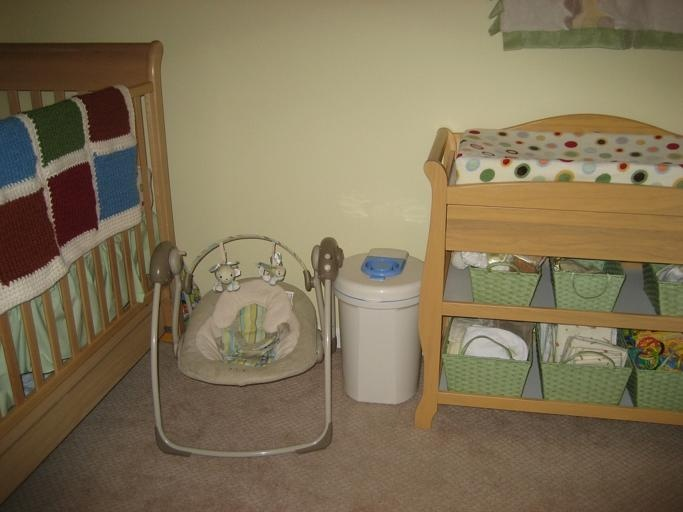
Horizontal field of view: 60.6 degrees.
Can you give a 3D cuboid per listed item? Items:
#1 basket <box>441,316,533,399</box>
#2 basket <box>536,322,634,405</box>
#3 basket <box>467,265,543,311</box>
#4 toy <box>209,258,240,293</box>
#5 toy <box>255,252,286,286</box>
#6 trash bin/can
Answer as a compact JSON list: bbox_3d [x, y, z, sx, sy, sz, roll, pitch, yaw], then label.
[{"bbox_3d":[0.607,0.401,2.489,0.333,0.253,0.346,3,14,12],"label":"basket"},{"bbox_3d":[0.984,0.419,2.459,0.345,0.272,0.302,1,26,9],"label":"basket"},{"bbox_3d":[0.630,0.191,2.279,0.263,0.187,0.148,5,31,11],"label":"basket"},{"bbox_3d":[-0.520,0.083,2.601,0.121,0.147,0.089,-5,47,-12],"label":"toy"},{"bbox_3d":[-0.325,0.055,2.657,0.140,0.148,0.088,6,2,5],"label":"toy"},{"bbox_3d":[0.160,0.340,2.597,0.376,0.629,0.358,2,23,8],"label":"trash bin/can"}]
